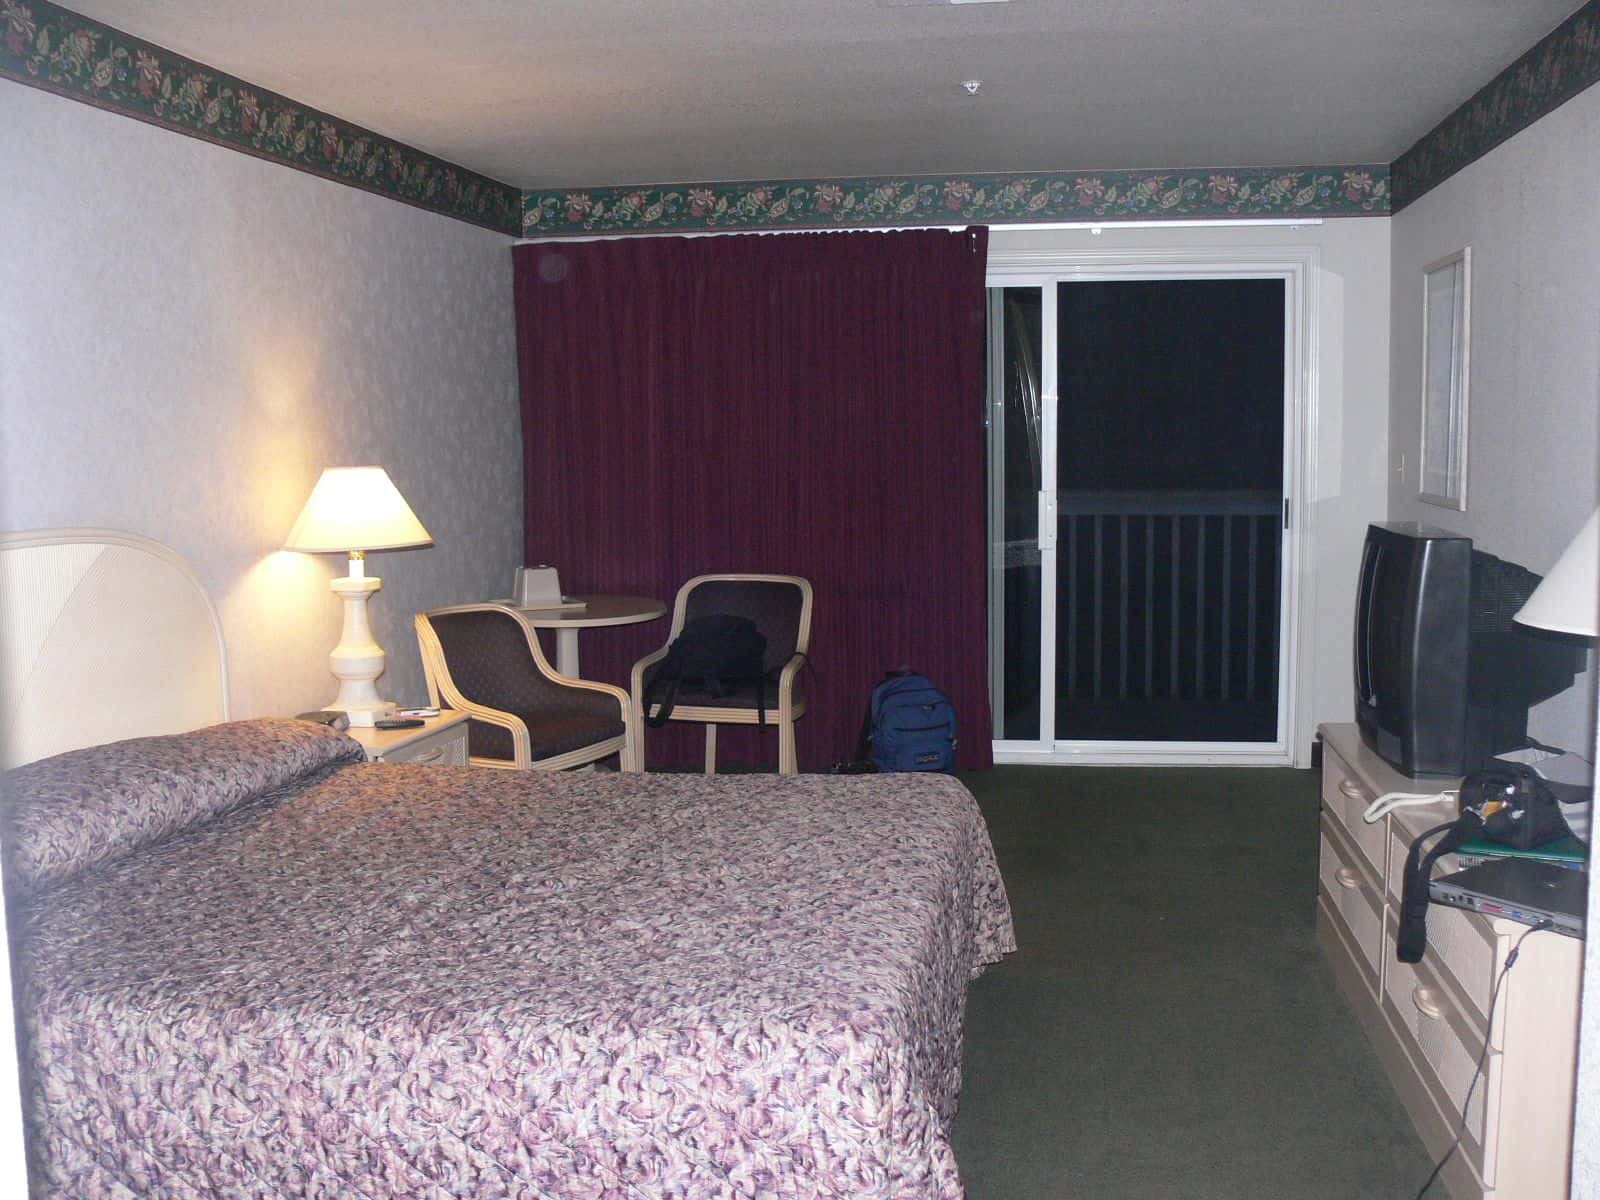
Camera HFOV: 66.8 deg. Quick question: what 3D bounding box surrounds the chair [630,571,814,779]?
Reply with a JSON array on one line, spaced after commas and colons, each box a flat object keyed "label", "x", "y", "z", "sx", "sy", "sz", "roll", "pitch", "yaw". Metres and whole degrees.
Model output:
[{"label": "chair", "x": -0.368, "y": 0.430, "z": 5.760, "sx": 0.752, "sy": 1.113, "sz": 0.757, "roll": 2, "pitch": 3, "yaw": 2}]

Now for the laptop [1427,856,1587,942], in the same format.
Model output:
[{"label": "laptop", "x": 1.631, "y": 0.652, "z": 2.756, "sx": 0.303, "sy": 0.078, "sz": 0.375, "roll": 8, "pitch": 14, "yaw": 42}]

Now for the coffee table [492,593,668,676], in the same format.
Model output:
[{"label": "coffee table", "x": -0.954, "y": 0.087, "z": 5.637, "sx": 0.495, "sy": 0.372, "sz": 0.489, "roll": -5, "pitch": 8, "yaw": -33}]

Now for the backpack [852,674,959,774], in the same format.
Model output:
[{"label": "backpack", "x": 0.480, "y": 0.638, "z": 5.769, "sx": 0.382, "sy": 0.463, "sz": 0.461, "roll": 1, "pitch": -22, "yaw": -7}]

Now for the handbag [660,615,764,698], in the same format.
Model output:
[{"label": "handbag", "x": -0.396, "y": 0.255, "z": 5.534, "sx": 0.351, "sy": 0.373, "sz": 0.149, "roll": 6, "pitch": -30, "yaw": 8}]

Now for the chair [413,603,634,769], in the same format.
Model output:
[{"label": "chair", "x": -1.179, "y": 0.355, "z": 5.001, "sx": 0.763, "sy": 0.965, "sz": 0.682, "roll": 2, "pitch": 6, "yaw": 32}]

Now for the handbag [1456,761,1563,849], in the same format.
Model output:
[{"label": "handbag", "x": 1.746, "y": 0.498, "z": 3.008, "sx": 0.196, "sy": 0.140, "sz": 0.199, "roll": -6, "pitch": 11, "yaw": -21}]

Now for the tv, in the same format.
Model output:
[{"label": "tv", "x": 2.011, "y": 0.179, "z": 3.655, "sx": 0.387, "sy": 0.722, "sz": 0.742, "roll": 0, "pitch": 5, "yaw": 15}]
